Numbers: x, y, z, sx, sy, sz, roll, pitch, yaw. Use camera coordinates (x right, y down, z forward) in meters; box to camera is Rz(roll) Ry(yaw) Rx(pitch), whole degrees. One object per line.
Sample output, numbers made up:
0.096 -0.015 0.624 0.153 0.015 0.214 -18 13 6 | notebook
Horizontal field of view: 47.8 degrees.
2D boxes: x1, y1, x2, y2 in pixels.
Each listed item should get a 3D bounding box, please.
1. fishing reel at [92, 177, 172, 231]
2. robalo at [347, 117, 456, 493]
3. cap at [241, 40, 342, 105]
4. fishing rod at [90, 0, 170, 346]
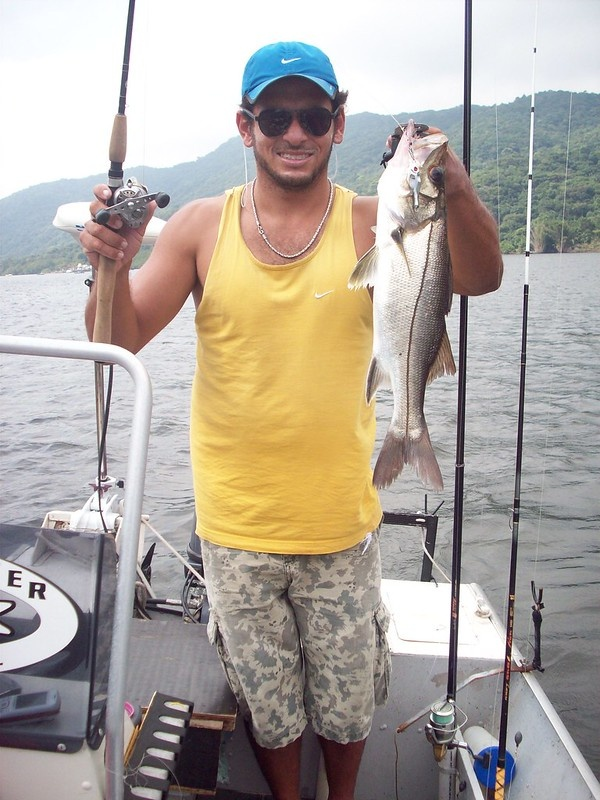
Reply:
-0.382 -0.442 1.527 0.127 0.123 0.071 24 -38 -21 | fishing reel
0.263 -0.206 1.704 0.236 0.889 0.249 4 9 18 | robalo
-0.023 -0.838 1.752 0.258 0.153 0.130 0 9 -6 | cap
-0.453 -0.551 1.729 0.155 0.947 0.211 15 -43 -22 | fishing rod
